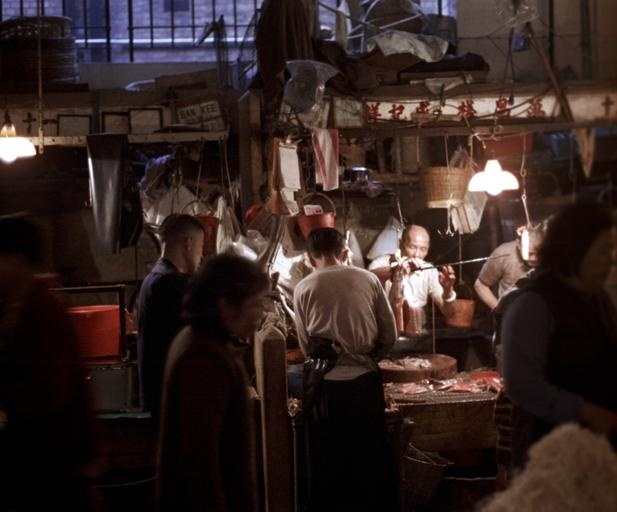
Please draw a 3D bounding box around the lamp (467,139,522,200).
[{"bbox_3d":[2.004,-0.925,8.332,0.540,0.748,0.512,1,-5,-7],"label":"lamp"}]

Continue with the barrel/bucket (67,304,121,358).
[{"bbox_3d":[-1.561,0.546,5.939,0.429,0.440,0.497,-3,-8,-5],"label":"barrel/bucket"}]

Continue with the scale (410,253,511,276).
[{"bbox_3d":[1.816,0.105,9.510,1.139,0.172,0.088,-12,-4,-10],"label":"scale"}]
